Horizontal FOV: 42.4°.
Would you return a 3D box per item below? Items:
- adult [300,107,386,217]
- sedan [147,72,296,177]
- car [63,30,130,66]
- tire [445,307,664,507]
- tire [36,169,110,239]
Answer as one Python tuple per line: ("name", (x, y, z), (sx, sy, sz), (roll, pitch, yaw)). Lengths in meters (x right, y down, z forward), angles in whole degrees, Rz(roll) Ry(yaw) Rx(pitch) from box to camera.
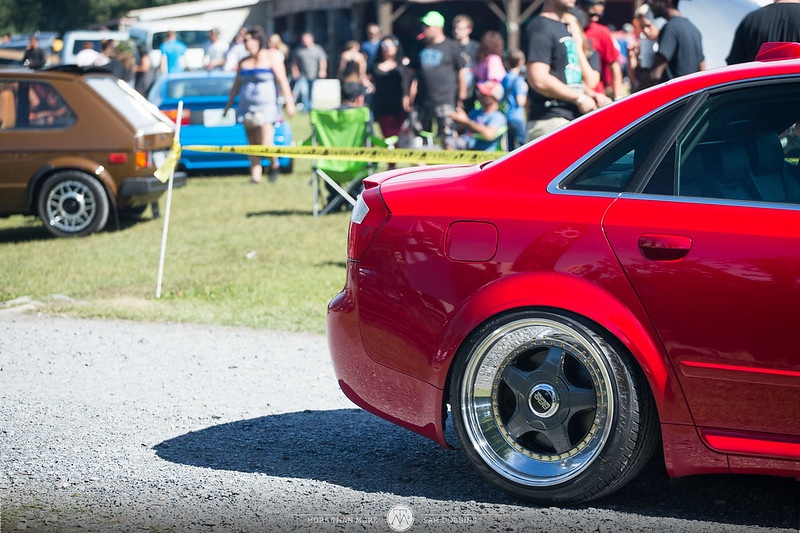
("adult", (-0.668, -1.311, 13.125), (1.344, 1.814, 1.219), (1, 8, 6))
("sedan", (-2.938, -2.073, 15.528), (1.372, 1.022, 2.371), (-2, 16, -2))
("car", (-8.494, -6.039, 28.496), (1.639, 0.950, 6.981), (-3, 16, -18))
("tire", (0.843, 0.729, 5.539), (1.019, 1.075, 0.412), (2, 3, 26))
("tire", (-3.591, -0.708, 11.329), (0.690, 0.724, 0.253), (1, 7, -3))
